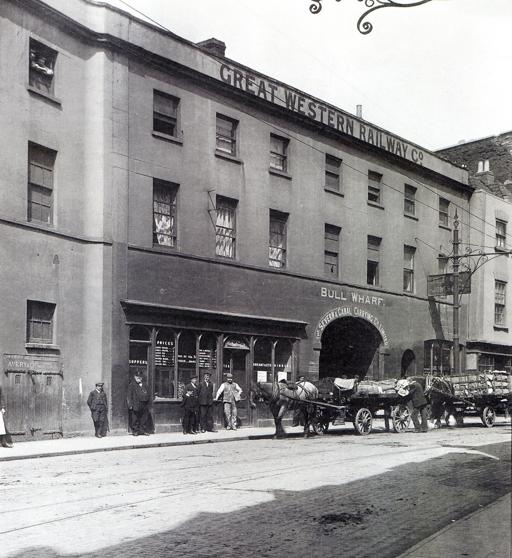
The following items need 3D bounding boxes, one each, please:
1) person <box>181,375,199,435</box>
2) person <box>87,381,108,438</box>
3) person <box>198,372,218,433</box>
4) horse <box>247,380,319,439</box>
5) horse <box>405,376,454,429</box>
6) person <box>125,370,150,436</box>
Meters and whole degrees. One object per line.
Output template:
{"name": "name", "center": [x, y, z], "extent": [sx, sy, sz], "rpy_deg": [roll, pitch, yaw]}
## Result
{"name": "person", "center": [-1.873, 3.610, 29.196], "extent": [0.358, 1.643, 0.920], "rpy_deg": [-3, -8, 22]}
{"name": "person", "center": [-4.227, 3.475, 27.094], "extent": [0.406, 1.453, 0.862], "rpy_deg": [-1, -8, 9]}
{"name": "person", "center": [-1.462, 3.594, 29.570], "extent": [0.428, 1.627, 0.744], "rpy_deg": [-5, -9, 37]}
{"name": "horse", "center": [0.878, 3.568, 28.147], "extent": [2.012, 1.821, 0.671], "rpy_deg": [-2, 4, -20]}
{"name": "horse", "center": [5.314, 3.834, 32.517], "extent": [2.229, 1.669, 0.703], "rpy_deg": [-3, 3, -1]}
{"name": "person", "center": [-3.284, 3.436, 28.052], "extent": [0.600, 1.755, 1.076], "rpy_deg": [1, -8, -7]}
